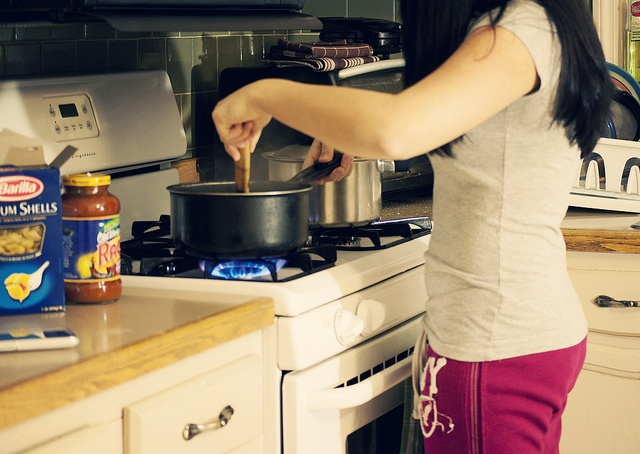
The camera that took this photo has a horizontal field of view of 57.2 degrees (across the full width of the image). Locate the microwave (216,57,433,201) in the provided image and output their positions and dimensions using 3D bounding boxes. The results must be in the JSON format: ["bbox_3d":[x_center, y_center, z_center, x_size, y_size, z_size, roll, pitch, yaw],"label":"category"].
[{"bbox_3d":[0.002,-0.369,1.977,0.482,0.434,0.714,0,4,25],"label":"microwave"}]

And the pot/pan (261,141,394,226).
[{"bbox_3d":[-0.001,-0.105,1.561,0.356,0.135,0.162,1,5,38],"label":"pot/pan"}]

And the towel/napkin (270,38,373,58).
[{"bbox_3d":[0.029,-0.535,1.775,0.157,0.033,0.146,-4,8,-34],"label":"towel/napkin"}]

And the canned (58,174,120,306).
[{"bbox_3d":[-0.420,0.041,1.081,0.117,0.202,0.051,-9,13,-18],"label":"canned"}]
